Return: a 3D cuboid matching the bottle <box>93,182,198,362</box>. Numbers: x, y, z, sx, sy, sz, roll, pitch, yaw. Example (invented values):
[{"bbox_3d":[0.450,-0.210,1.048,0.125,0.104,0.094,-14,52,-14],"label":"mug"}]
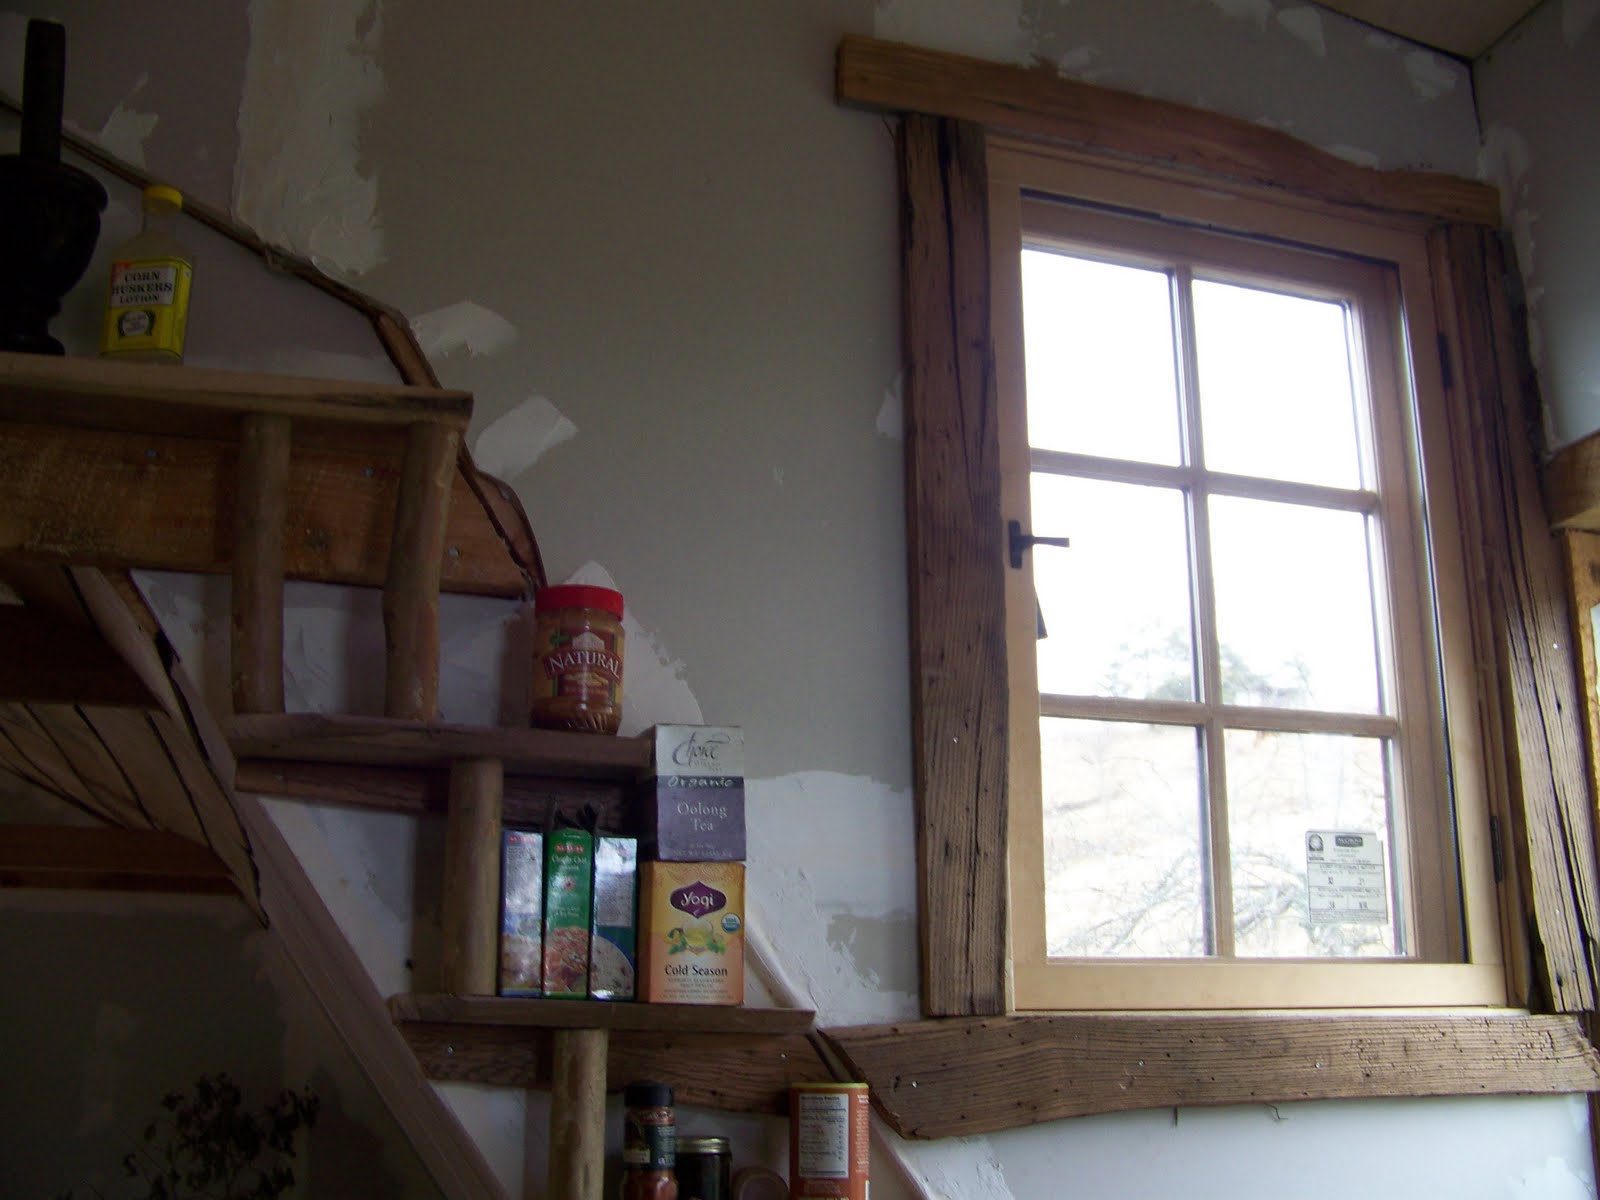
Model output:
[{"bbox_3d":[-0.874,-0.440,1.887,0.098,0.254,0.079,4,-11,-29],"label":"bottle"}]
